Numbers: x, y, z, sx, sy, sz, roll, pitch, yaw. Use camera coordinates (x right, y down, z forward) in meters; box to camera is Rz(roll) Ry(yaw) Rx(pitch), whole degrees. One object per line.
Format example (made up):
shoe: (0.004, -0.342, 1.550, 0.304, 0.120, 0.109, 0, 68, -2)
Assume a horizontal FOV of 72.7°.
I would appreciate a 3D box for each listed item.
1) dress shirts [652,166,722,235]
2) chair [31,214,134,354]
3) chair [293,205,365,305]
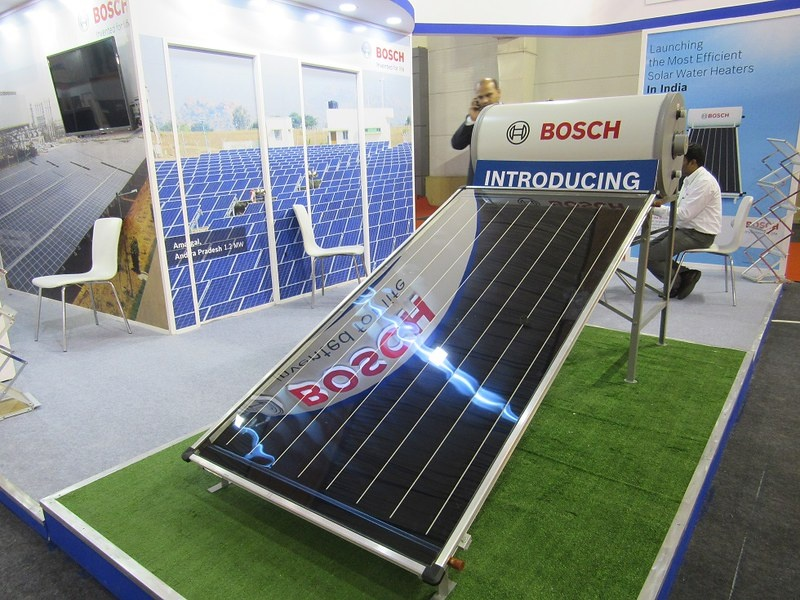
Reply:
dress shirts: (2.554, -0.868, 4.920, 0.672, 0.574, 0.554, 2, 17, 28)
chair: (-2.613, -0.193, 4.551, 0.705, 0.911, 1.129, -12, 21, -25)
chair: (-0.638, -0.455, 5.174, 0.642, 0.912, 0.557, -3, 10, -4)
